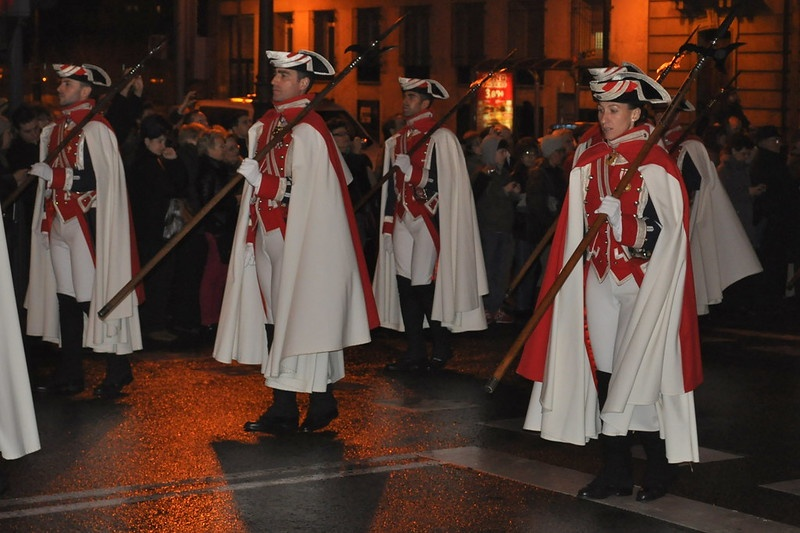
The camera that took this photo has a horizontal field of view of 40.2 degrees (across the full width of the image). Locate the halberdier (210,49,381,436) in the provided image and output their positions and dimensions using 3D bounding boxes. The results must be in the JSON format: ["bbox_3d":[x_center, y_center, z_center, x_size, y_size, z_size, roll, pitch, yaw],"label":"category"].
[{"bbox_3d":[-0.925,-0.217,9.831,0.974,3.226,1.529,1,3,-38],"label":"halberdier"}]

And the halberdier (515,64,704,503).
[{"bbox_3d":[1.608,0.156,8.394,1.112,3.103,1.462,-4,7,-38],"label":"halberdier"}]

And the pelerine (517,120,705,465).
[{"bbox_3d":[1.709,0.168,8.495,1.168,2.595,1.269,-2,4,-23],"label":"pelerine"}]

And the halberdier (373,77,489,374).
[{"bbox_3d":[0.303,-0.507,12.089,1.296,3.087,1.207,3,5,42],"label":"halberdier"}]

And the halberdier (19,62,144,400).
[{"bbox_3d":[-3.093,-0.355,10.564,1.481,3.041,0.957,2,0,35],"label":"halberdier"}]
